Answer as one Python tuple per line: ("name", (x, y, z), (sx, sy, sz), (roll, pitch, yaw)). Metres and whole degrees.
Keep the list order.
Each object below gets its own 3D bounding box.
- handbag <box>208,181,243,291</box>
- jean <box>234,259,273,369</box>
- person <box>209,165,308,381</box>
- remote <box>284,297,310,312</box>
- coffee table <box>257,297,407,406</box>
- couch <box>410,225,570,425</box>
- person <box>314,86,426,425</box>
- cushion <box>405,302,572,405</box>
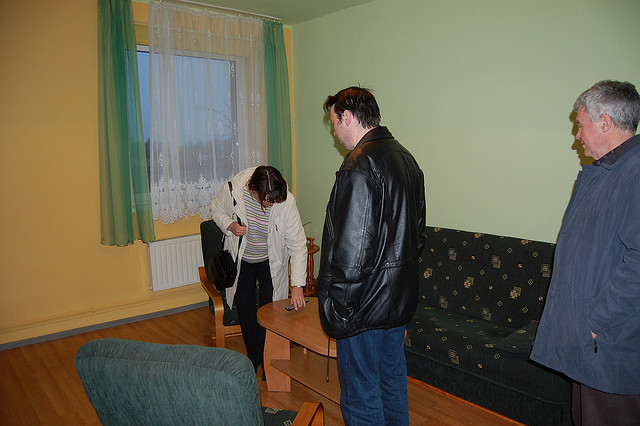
("handbag", (-0.802, 0.199, 3.906), (0.239, 0.883, 0.349), (-3, 13, -27))
("jean", (-0.536, 0.814, 3.992), (0.288, 0.256, 1.093), (-12, 43, -2))
("person", (-0.526, 0.487, 4.079), (0.974, 1.946, 0.768), (10, 19, 22))
("remote", (-0.148, 0.729, 3.602), (0.167, 0.049, 0.095), (-7, 11, -43))
("coffee table", (0.046, 1.178, 3.725), (1.095, 0.654, 0.814), (9, 12, 34))
("couch", (1.340, 0.917, 3.536), (0.651, 0.946, 1.283), (1, 6, -36))
("person", (0.317, 0.321, 2.907), (0.640, 2.170, 0.527), (4, 11, 9))
("cushion", (1.347, 1.116, 3.819), (0.726, 0.348, 1.536), (-24, 10, -28))
